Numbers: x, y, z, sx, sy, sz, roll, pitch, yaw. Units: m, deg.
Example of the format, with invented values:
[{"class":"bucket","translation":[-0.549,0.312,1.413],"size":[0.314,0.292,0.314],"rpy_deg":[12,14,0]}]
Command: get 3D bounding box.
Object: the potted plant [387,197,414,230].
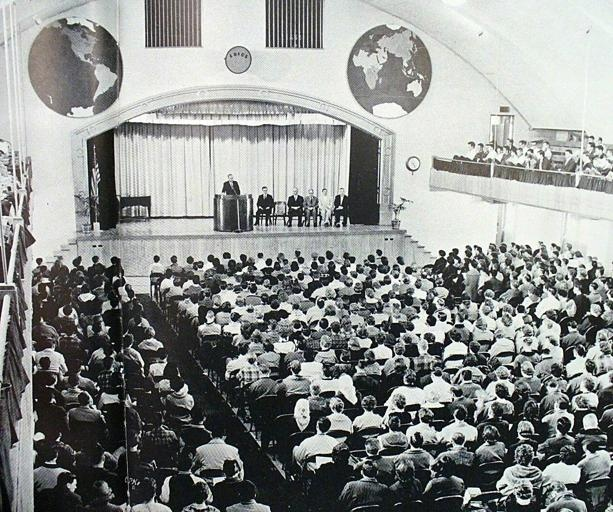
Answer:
[{"class":"potted plant","translation":[0.901,-0.410,7.971],"size":[0.246,0.314,0.233],"rpy_deg":[0,5,8]}]
